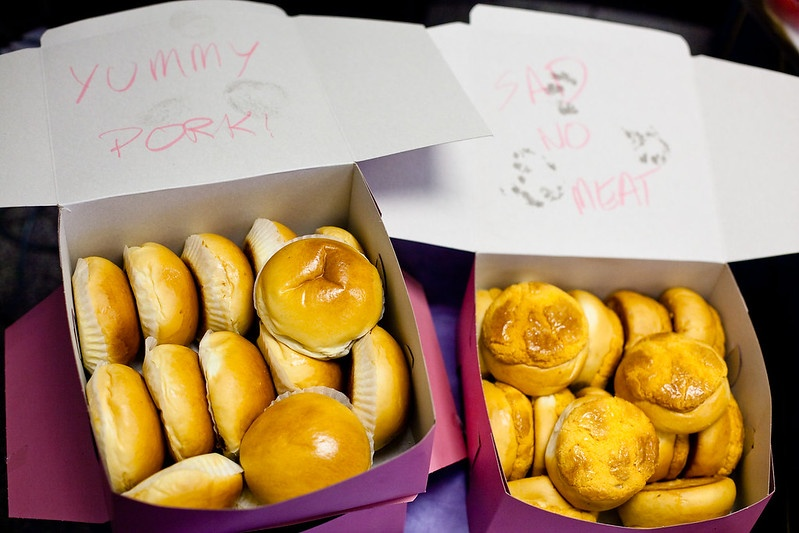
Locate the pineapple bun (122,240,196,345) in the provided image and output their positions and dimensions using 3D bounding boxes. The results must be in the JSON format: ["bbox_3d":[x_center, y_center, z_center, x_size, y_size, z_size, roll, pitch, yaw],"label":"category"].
[{"bbox_3d":[-0.407,0.047,1.189,0.069,0.149,0.155,-20,64,-9],"label":"pineapple bun"}]

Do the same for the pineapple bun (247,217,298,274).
[{"bbox_3d":[-0.239,-0.036,1.323,0.089,0.054,0.101,-28,68,30],"label":"pineapple bun"}]

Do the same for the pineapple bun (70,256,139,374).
[{"bbox_3d":[-0.540,0.081,1.229,0.078,0.199,0.192,2,48,-25],"label":"pineapple bun"}]

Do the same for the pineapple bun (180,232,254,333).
[{"bbox_3d":[-0.310,0.031,1.220,0.080,0.130,0.163,-16,58,-21],"label":"pineapple bun"}]

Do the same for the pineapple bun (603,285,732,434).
[{"bbox_3d":[0.512,0.165,1.293,0.173,0.090,0.272,-2,69,10],"label":"pineapple bun"}]
